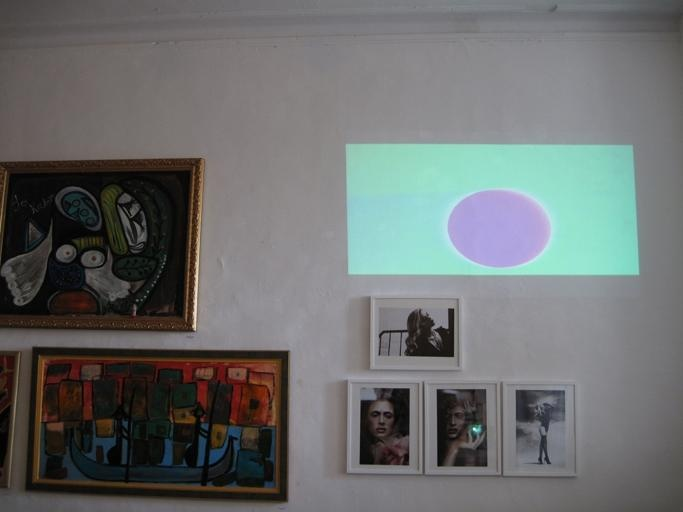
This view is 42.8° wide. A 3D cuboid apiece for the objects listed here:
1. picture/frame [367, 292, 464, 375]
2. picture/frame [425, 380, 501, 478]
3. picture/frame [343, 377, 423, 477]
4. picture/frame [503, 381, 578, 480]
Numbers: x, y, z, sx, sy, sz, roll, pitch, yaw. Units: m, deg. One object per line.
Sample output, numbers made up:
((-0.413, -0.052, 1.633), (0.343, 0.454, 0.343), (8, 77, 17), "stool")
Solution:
((0.382, 0.398, 4.316), (0.362, 0.319, 0.016), (0, -7, 2), "picture/frame")
((0.611, 0.866, 4.280), (0.431, 0.573, 0.021), (0, -5, 1), "picture/frame")
((0.216, 0.857, 4.294), (0.435, 0.582, 0.023), (0, -6, 0), "picture/frame")
((0.989, 0.871, 4.269), (0.428, 0.592, 0.040), (0, -6, -1), "picture/frame")
